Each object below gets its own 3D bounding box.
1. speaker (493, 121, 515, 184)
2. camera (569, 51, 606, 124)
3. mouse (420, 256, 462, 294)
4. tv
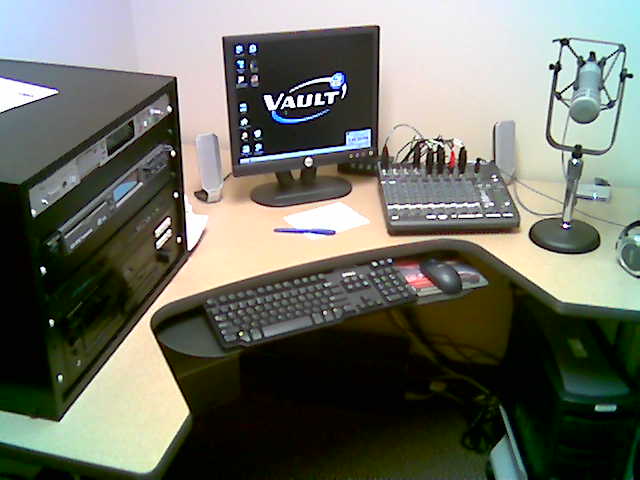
[{"bbox_3d":[0.659,-0.340,1.757,0.073,0.021,0.221,-8,55,29],"label":"speaker"},{"bbox_3d":[0.756,-0.428,1.390,0.085,0.154,0.238,12,35,26],"label":"camera"},{"bbox_3d":[0.345,0.097,1.379,0.057,0.044,0.125,-11,36,-12],"label":"mouse"},{"bbox_3d":[-0.059,-0.410,1.627,0.509,0.558,0.192,-10,28,-17],"label":"tv"}]
